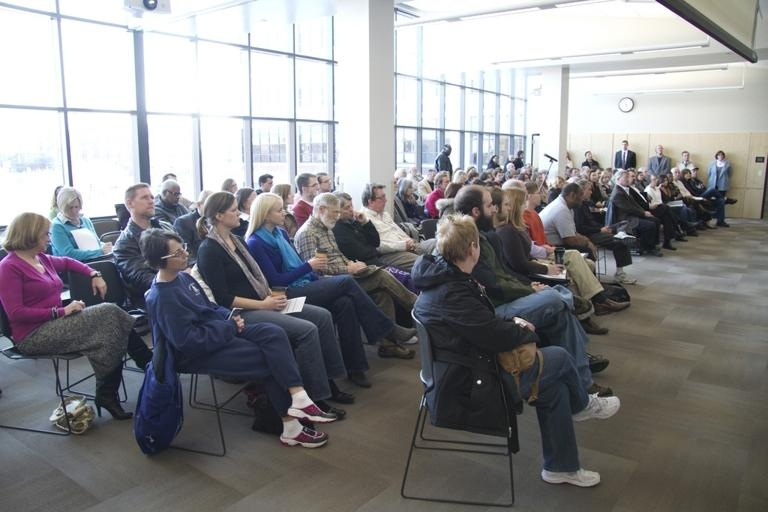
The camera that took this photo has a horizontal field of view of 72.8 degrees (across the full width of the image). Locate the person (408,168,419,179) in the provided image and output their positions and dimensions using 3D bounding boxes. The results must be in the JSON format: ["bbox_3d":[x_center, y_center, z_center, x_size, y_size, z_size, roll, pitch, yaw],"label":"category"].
[{"bbox_3d":[0.703,-1.961,12.374,0.254,0.262,0.785,-1,11,3],"label":"person"}]

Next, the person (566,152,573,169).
[{"bbox_3d":[6.385,-3.275,17.688,0.244,0.515,1.227,3,11,19],"label":"person"}]

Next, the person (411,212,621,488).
[{"bbox_3d":[1.019,0.653,3.758,1.553,1.906,0.831,-4,4,-7],"label":"person"}]

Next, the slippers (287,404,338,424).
[{"bbox_3d":[-0.529,1.194,4.032,0.412,0.177,0.146,10,-5,-9],"label":"slippers"}]

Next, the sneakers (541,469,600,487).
[{"bbox_3d":[1.314,1.534,3.695,0.389,0.171,0.145,-3,4,6],"label":"sneakers"}]

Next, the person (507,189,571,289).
[{"bbox_3d":[1.574,-0.190,5.216,0.773,1.015,0.725,4,4,24],"label":"person"}]

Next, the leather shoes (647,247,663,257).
[{"bbox_3d":[4.892,-0.060,9.405,0.295,0.120,0.129,1,8,27],"label":"leather shoes"}]

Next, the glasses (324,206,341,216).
[{"bbox_3d":[-0.494,-0.439,5.108,0.083,0.088,0.102,-5,3,-41],"label":"glasses"}]

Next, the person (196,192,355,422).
[{"bbox_3d":[-0.968,0.385,4.395,1.066,1.835,0.651,-1,11,27],"label":"person"}]

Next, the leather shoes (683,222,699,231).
[{"bbox_3d":[6.892,-0.663,11.685,0.309,0.106,0.224,-8,0,15],"label":"leather shoes"}]

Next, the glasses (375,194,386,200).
[{"bbox_3d":[-0.053,-0.689,6.103,0.085,0.041,0.070,2,8,31],"label":"glasses"}]

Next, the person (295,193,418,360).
[{"bbox_3d":[-0.191,0.199,5.287,1.352,1.728,0.718,-2,21,-5],"label":"person"}]

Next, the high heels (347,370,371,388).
[{"bbox_3d":[-0.220,1.107,4.701,0.243,0.170,0.090,0,3,24],"label":"high heels"}]

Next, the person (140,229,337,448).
[{"bbox_3d":[-1.134,0.626,4.047,1.436,1.634,0.761,-1,9,-4],"label":"person"}]

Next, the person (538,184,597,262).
[{"bbox_3d":[2.414,-0.265,6.837,0.760,1.349,0.590,2,18,24],"label":"person"}]

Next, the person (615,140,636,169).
[{"bbox_3d":[7.899,-3.308,16.962,0.659,0.890,1.024,3,12,23],"label":"person"}]

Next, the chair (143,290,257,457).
[{"bbox_3d":[-1.511,0.873,4.104,0.686,1.187,0.837,1,17,-3],"label":"chair"}]

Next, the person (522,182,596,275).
[{"bbox_3d":[2.434,-0.245,6.877,0.796,1.436,0.605,4,22,30],"label":"person"}]

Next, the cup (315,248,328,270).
[{"bbox_3d":[-0.581,0.025,4.799,0.167,0.209,0.151,-2,2,-31],"label":"cup"}]

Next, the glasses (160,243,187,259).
[{"bbox_3d":[-1.562,-0.022,3.852,0.131,0.042,0.130,-21,16,-2],"label":"glasses"}]

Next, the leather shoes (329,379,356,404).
[{"bbox_3d":[-0.428,1.178,4.541,0.337,0.149,0.110,-1,3,34],"label":"leather shoes"}]

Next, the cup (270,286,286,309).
[{"bbox_3d":[-0.872,0.352,4.310,0.142,0.217,0.149,-2,-1,0],"label":"cup"}]

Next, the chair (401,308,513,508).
[{"bbox_3d":[0.550,1.047,4.215,1.139,1.692,1.074,-1,5,8],"label":"chair"}]

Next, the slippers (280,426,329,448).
[{"bbox_3d":[-0.595,1.391,3.988,0.371,0.162,0.147,-1,4,2],"label":"slippers"}]

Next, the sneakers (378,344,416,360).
[{"bbox_3d":[0.131,0.930,5.193,0.364,0.172,0.147,0,4,-1],"label":"sneakers"}]

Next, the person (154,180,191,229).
[{"bbox_3d":[-2.819,-0.722,6.819,0.406,0.541,0.853,4,18,4],"label":"person"}]

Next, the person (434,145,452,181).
[{"bbox_3d":[1.450,-2.188,12.271,0.360,0.982,0.718,4,43,14],"label":"person"}]

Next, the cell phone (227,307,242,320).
[{"bbox_3d":[-1.190,0.454,4.122,0.012,0.120,0.070,34,21,22],"label":"cell phone"}]

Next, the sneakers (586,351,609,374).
[{"bbox_3d":[2.022,0.982,4.835,0.125,0.151,0.380,-2,-1,44],"label":"sneakers"}]

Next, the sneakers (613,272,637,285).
[{"bbox_3d":[3.532,0.323,7.640,0.346,0.152,0.161,0,8,-2],"label":"sneakers"}]

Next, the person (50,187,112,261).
[{"bbox_3d":[-3.429,-0.358,5.887,0.654,0.746,0.576,2,14,-3],"label":"person"}]

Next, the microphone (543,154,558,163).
[{"bbox_3d":[4.566,-2.660,14.175,0.389,0.132,0.105,32,14,-23],"label":"microphone"}]

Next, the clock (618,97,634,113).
[{"bbox_3d":[8.162,-5.056,17.493,0.475,0.482,0.460,5,5,27],"label":"clock"}]

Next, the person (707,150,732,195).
[{"bbox_3d":[10.244,-2.387,15.830,0.610,1.614,0.500,7,32,38],"label":"person"}]

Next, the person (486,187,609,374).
[{"bbox_3d":[1.760,0.025,5.234,1.117,1.441,0.578,3,23,35],"label":"person"}]

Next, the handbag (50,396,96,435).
[{"bbox_3d":[-2.546,1.243,4.248,0.353,0.117,0.216,3,-3,27],"label":"handbag"}]
